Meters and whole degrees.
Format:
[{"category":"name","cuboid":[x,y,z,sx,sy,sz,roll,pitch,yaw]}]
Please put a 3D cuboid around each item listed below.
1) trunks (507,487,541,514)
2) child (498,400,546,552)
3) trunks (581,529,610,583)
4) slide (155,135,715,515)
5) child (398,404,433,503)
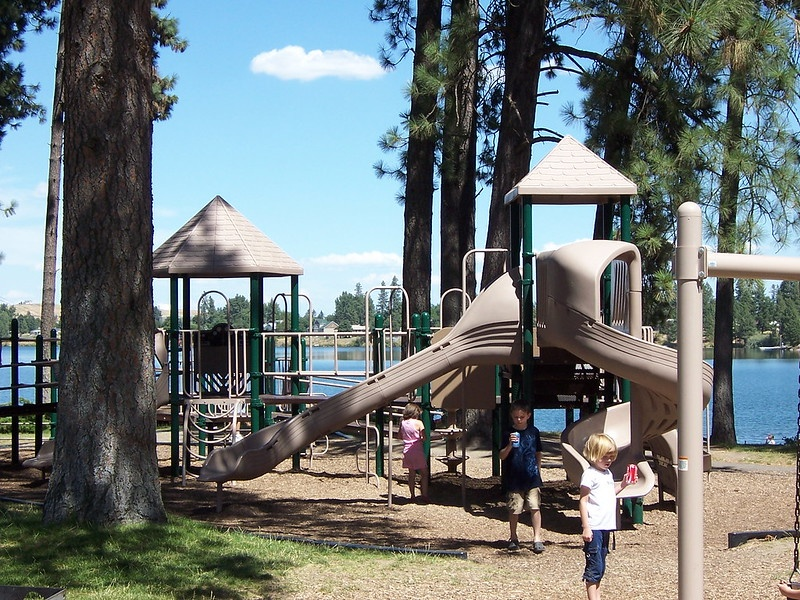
[{"category":"trunks","cuboid":[1.604,2.641,15.758,0.464,0.531,0.286,2,-10,-6]},{"category":"child","cuboid":[1.601,2.337,15.801,0.543,1.971,0.491,-2,-4,4]},{"category":"trunks","cuboid":[2.255,2.962,13.797,0.313,0.606,0.243,-2,-5,6]},{"category":"slide","cuboid":[0.712,0.133,16.612,7.509,5.348,5.099,-4,-6,25]},{"category":"child","cuboid":[0.227,2.305,18.129,0.410,1.514,0.423,-1,1,29]}]
